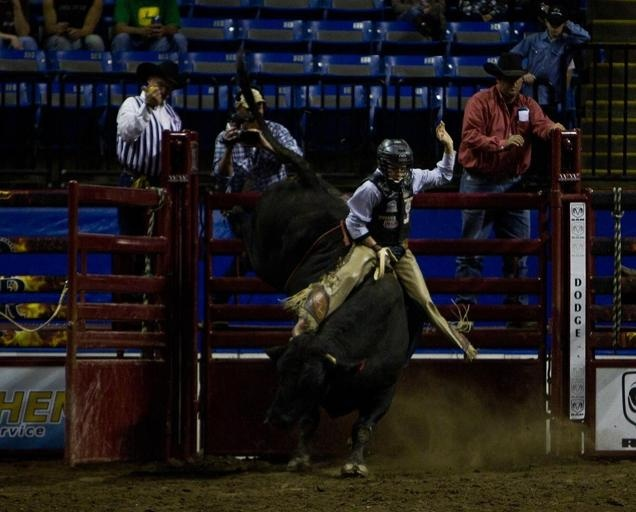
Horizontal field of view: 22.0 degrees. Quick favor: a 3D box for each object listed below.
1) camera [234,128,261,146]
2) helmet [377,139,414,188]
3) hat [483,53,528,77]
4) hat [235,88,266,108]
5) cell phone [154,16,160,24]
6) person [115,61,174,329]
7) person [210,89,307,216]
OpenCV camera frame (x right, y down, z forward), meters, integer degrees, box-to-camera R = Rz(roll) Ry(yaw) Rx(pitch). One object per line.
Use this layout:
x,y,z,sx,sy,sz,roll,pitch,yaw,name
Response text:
-0.683,-1.179,16.254,0.156,0.167,0.124,14,-34,9,camera
0.775,-0.960,15.926,0.315,0.431,0.421,-6,26,-16,helmet
2.061,-2.088,17.876,0.323,0.156,0.387,3,-5,-2,hat
-0.712,-1.661,17.063,0.232,0.166,0.300,-2,-8,-31,hat
-2.245,-3.273,22.833,0.083,0.157,0.088,0,1,-8,cell phone
-1.791,-0.641,17.081,0.720,2.757,0.984,-1,3,-5,person
-0.635,-1.073,17.589,1.005,0.985,1.757,-9,-40,0,person
